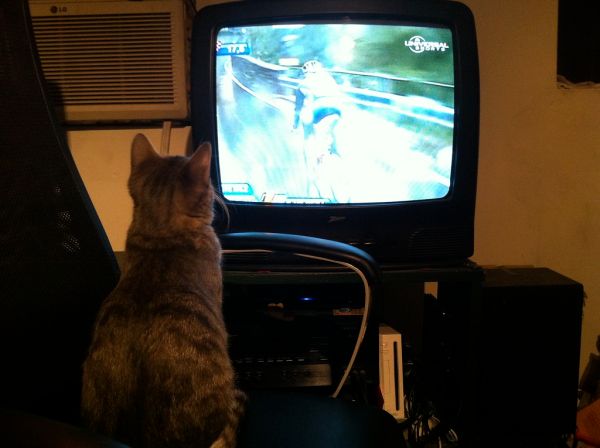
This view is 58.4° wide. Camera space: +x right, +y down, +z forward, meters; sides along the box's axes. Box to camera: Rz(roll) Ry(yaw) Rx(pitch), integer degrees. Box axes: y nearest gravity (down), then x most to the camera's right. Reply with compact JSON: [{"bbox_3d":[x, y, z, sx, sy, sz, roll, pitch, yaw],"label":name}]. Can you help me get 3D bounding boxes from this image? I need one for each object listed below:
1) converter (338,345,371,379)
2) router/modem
[{"bbox_3d":[0.171,0.463,1.847,0.142,0.103,0.138,2,-4,3],"label":"converter"},{"bbox_3d":[0.301,0.496,1.767,0.103,0.336,0.311,1,-7,3],"label":"router/modem"}]
